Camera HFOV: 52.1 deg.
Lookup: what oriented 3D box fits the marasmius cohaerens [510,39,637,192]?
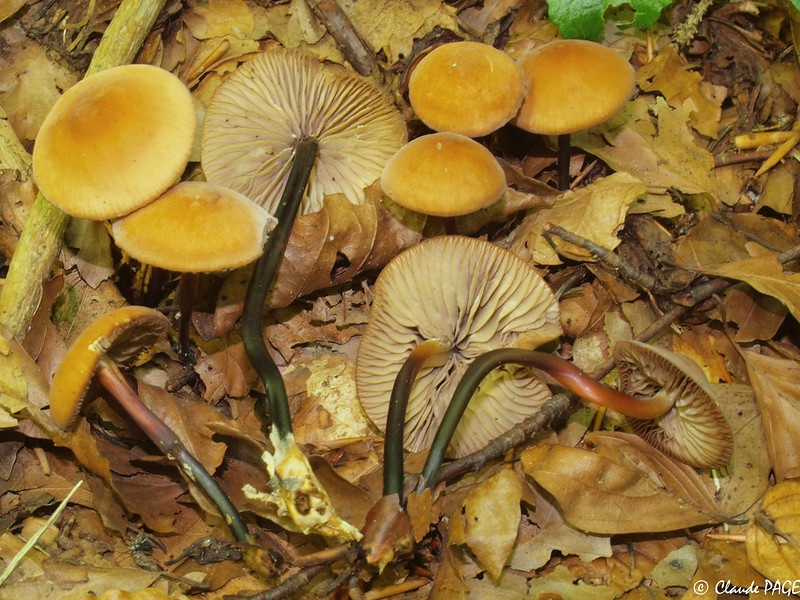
[{"bbox_3d":[0.987,-1.100,4.782,0.590,0.660,0.593,14,62,13],"label":"marasmius cohaerens"}]
